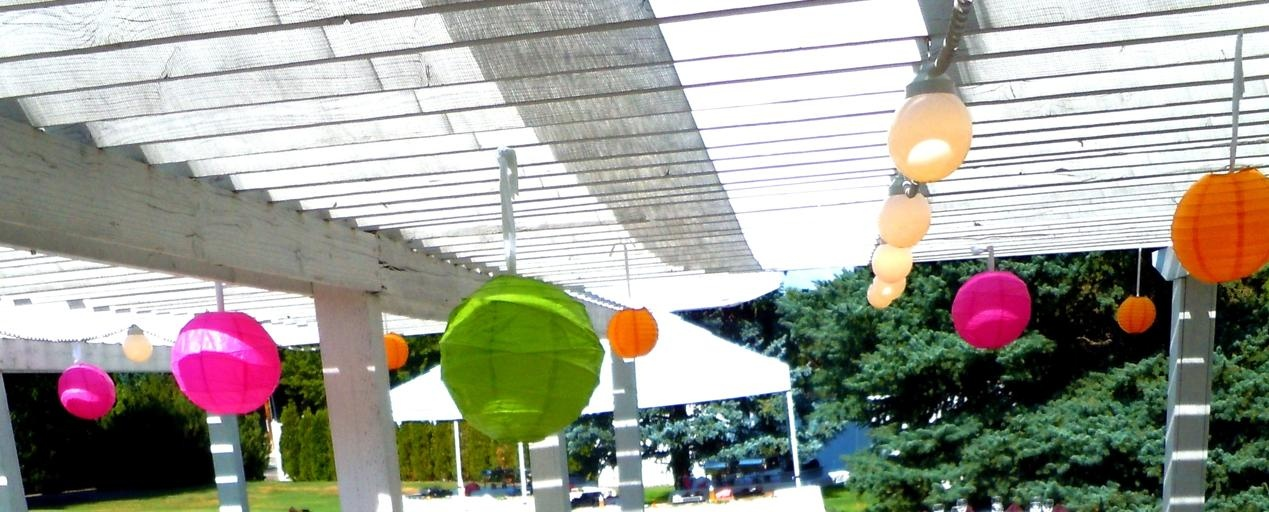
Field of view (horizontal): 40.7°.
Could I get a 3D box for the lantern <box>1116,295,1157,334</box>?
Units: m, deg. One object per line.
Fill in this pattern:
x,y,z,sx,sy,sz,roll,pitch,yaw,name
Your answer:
11.483,1.368,39.718,1.194,0.989,1.039,1,-3,-5,lantern

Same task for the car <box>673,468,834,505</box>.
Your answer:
3.160,6.851,50.472,4.281,1.287,3.936,-5,-15,3,car
